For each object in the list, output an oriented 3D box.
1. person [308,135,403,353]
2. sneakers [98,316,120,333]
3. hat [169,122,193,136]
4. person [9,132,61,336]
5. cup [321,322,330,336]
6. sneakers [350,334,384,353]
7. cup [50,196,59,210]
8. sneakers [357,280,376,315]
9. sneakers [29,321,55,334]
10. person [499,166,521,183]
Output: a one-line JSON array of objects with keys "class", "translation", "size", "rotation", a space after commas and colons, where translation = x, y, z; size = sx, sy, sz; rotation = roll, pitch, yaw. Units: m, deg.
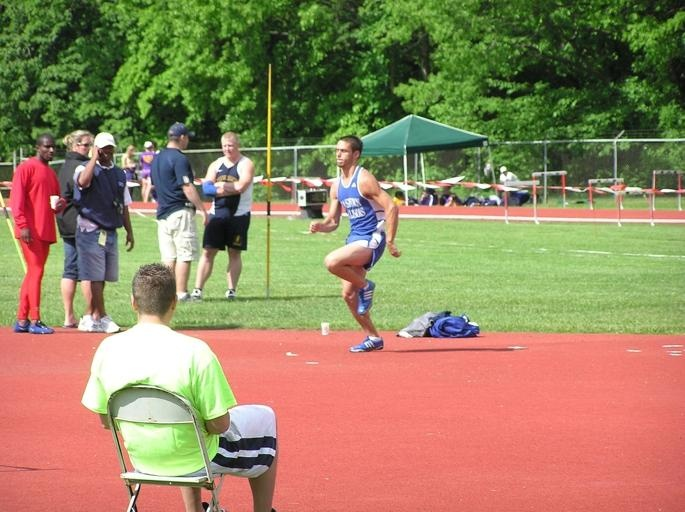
[{"class": "person", "translation": [0.171, -0.159, 13.867], "size": [0.954, 2.484, 0.895], "rotation": [1, 0, -2]}, {"class": "sneakers", "translation": [-2.874, 0.839, 14.581], "size": [0.164, 0.121, 0.315], "rotation": [-11, 13, -44]}, {"class": "hat", "translation": [-2.272, -1.728, 16.410], "size": [0.223, 0.197, 0.330], "rotation": [12, 23, 25]}, {"class": "person", "translation": [-3.784, -0.278, 14.479], "size": [0.612, 2.303, 0.563], "rotation": [1, 0, -16]}, {"class": "cup", "translation": [-0.213, 0.917, 14.915], "size": [0.141, 0.143, 0.134], "rotation": [1, 3, 0]}, {"class": "sneakers", "translation": [0.249, 1.034, 13.861], "size": [0.475, 0.198, 0.154], "rotation": [-4, -1, 0]}, {"class": "cup", "translation": [-3.514, -0.661, 14.369], "size": [0.113, 0.161, 0.110], "rotation": [1, 0, 0]}, {"class": "sneakers", "translation": [0.282, 0.482, 13.722], "size": [0.152, 0.436, 0.203], "rotation": [7, -1, 30]}, {"class": "sneakers", "translation": [-3.731, 0.880, 14.591], "size": [0.270, 0.115, 0.148], "rotation": [3, 2, 5]}, {"class": "person", "translation": [5.320, -2.547, 37.307], "size": [0.580, 0.625, 2.057], "rotation": [1, 0, 8]}]
